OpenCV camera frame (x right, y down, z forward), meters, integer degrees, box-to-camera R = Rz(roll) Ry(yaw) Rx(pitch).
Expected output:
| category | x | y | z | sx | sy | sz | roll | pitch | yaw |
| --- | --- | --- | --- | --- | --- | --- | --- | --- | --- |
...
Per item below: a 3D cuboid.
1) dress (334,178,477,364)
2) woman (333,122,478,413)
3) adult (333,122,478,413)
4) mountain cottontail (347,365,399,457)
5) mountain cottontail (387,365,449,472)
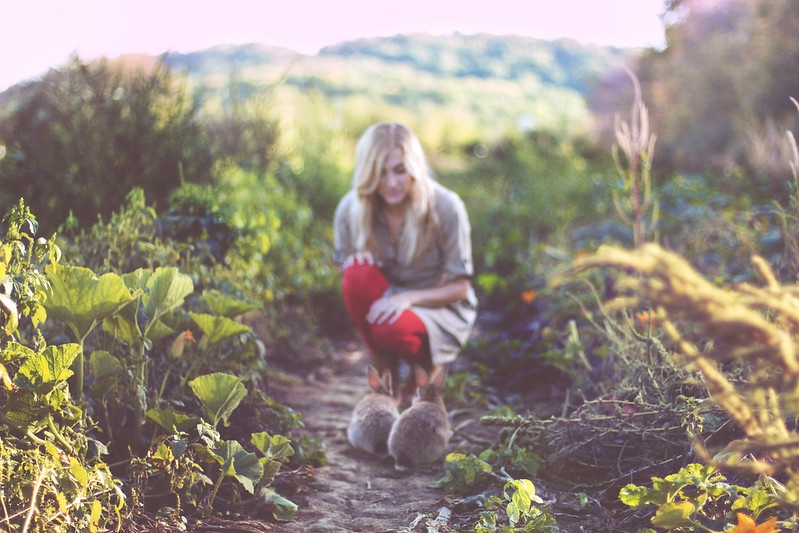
| category | x | y | z | sx | sy | sz | roll | pitch | yaw |
| --- | --- | --- | --- | --- | --- | --- | --- | --- | --- |
| dress | 0.013 | 0.047 | 5.012 | 0.968 | 1.437 | 0.857 | 9 | 33 | 25 |
| woman | 0.027 | 0.019 | 4.774 | 0.931 | 1.801 | 0.545 | 1 | -9 | 5 |
| adult | 0.027 | 0.019 | 4.774 | 0.931 | 1.801 | 0.545 | 1 | -9 | 5 |
| mountain cottontail | -0.131 | 1.006 | 4.880 | 0.334 | 0.441 | 0.678 | -4 | 17 | 2 |
| mountain cottontail | 0.165 | 0.961 | 4.729 | 0.296 | 0.713 | 0.439 | 13 | -13 | 7 |
